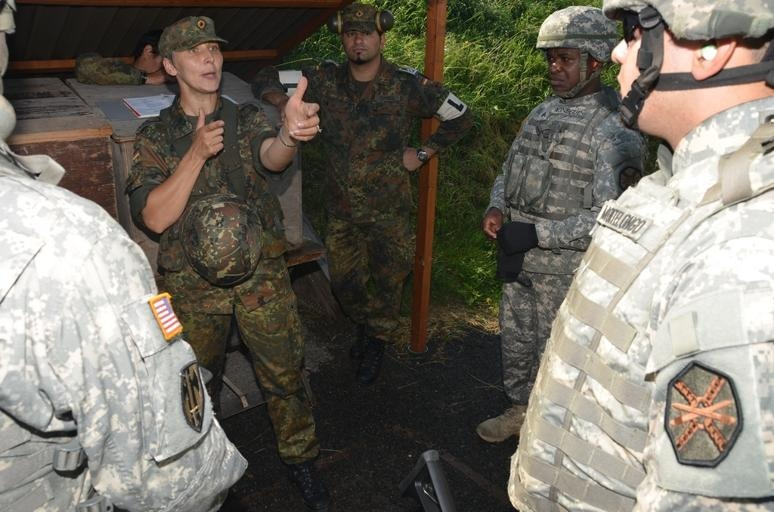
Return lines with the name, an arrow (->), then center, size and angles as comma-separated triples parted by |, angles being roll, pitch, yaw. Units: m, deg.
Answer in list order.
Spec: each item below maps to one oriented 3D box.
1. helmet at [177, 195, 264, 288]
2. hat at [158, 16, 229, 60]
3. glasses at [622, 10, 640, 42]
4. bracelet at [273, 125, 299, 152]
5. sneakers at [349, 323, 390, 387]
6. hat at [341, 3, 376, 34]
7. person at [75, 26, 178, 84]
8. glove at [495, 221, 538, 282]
helmet -> -0.823, -0.083, 3.260 | 0.389, 0.474, 0.383 | -4, 18, -9
hat -> -1.051, -1.198, 3.433 | 0.303, 0.165, 0.440 | -25, 22, -36
glasses -> 0.877, -0.810, 2.240 | 0.058, 0.082, 0.081 | 2, 42, 2
bracelet -> -0.523, -0.597, 3.280 | 0.102, 0.077, 0.112 | 32, 40, -1
sneakers -> -0.156, 0.821, 4.998 | 0.161, 0.212, 0.549 | -9, 49, 13
hat -> -0.199, -1.691, 4.528 | 0.274, 0.197, 0.202 | -1, 23, -3
person -> -1.884, -1.358, 4.563 | 0.703, 0.313, 0.549 | -17, 31, -31
glove -> 0.786, -0.023, 3.951 | 0.311, 0.327, 0.117 | -1, 11, 25
